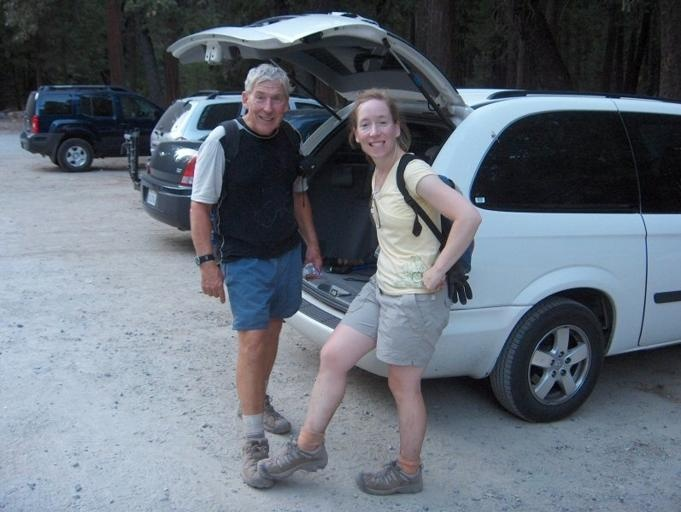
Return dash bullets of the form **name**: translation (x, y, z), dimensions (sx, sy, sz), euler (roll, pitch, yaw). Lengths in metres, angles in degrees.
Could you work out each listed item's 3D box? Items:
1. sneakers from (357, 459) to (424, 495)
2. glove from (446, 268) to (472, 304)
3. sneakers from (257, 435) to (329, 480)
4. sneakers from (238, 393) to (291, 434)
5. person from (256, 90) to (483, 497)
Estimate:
- **sneakers**: translation (0.284, 1.303, 3.277), dimensions (0.411, 0.204, 0.166), euler (1, 2, -3)
- **glove**: translation (0.644, 0.164, 2.991), dimensions (0.166, 0.178, 0.059), euler (-2, 3, -31)
- **sneakers**: translation (-0.246, 1.138, 3.263), dimensions (0.478, 0.262, 0.182), euler (-10, 23, 2)
- **sneakers**: translation (-0.520, 1.123, 3.872), dimensions (0.109, 0.215, 0.328), euler (-3, 2, -38)
- **person**: translation (0.225, 0.239, 3.120), dimensions (0.973, 2.279, 0.440), euler (1, 13, 1)
